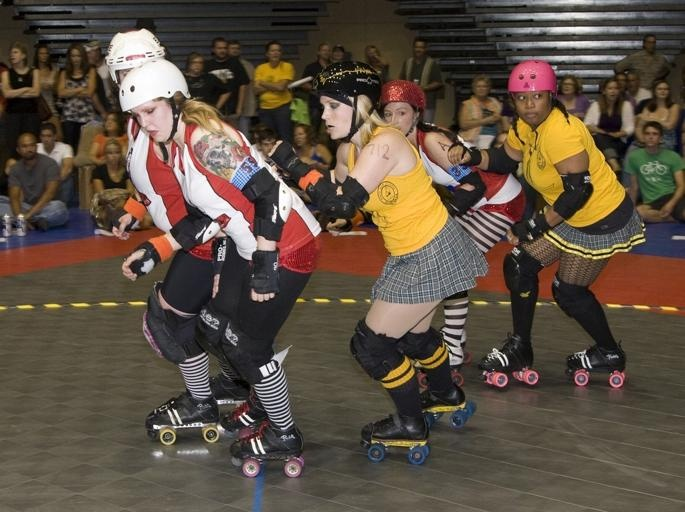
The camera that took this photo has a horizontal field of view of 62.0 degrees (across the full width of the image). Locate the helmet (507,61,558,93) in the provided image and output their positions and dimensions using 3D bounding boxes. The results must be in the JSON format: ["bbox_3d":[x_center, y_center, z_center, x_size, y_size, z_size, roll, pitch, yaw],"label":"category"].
[{"bbox_3d":[1.242,-1.153,3.768,0.329,0.255,0.365,1,26,16],"label":"helmet"}]

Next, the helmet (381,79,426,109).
[{"bbox_3d":[0.384,-1.022,3.657,0.287,0.111,0.195,6,1,-23],"label":"helmet"}]

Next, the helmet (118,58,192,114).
[{"bbox_3d":[-0.887,-0.780,2.678,0.330,0.236,0.243,-21,40,-34],"label":"helmet"}]

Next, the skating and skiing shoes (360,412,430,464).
[{"bbox_3d":[0.283,0.947,2.985,0.385,0.187,0.221,2,1,6],"label":"skating and skiing shoes"}]

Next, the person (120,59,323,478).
[{"bbox_3d":[-0.545,0.065,2.804,0.830,1.991,0.459,9,19,32],"label":"person"}]

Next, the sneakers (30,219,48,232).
[{"bbox_3d":[-4.983,-0.509,9.348,0.241,0.191,0.103,3,16,13],"label":"sneakers"}]

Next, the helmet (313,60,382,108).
[{"bbox_3d":[0.009,-0.860,2.953,0.427,0.253,0.285,-9,23,-28],"label":"helmet"}]
